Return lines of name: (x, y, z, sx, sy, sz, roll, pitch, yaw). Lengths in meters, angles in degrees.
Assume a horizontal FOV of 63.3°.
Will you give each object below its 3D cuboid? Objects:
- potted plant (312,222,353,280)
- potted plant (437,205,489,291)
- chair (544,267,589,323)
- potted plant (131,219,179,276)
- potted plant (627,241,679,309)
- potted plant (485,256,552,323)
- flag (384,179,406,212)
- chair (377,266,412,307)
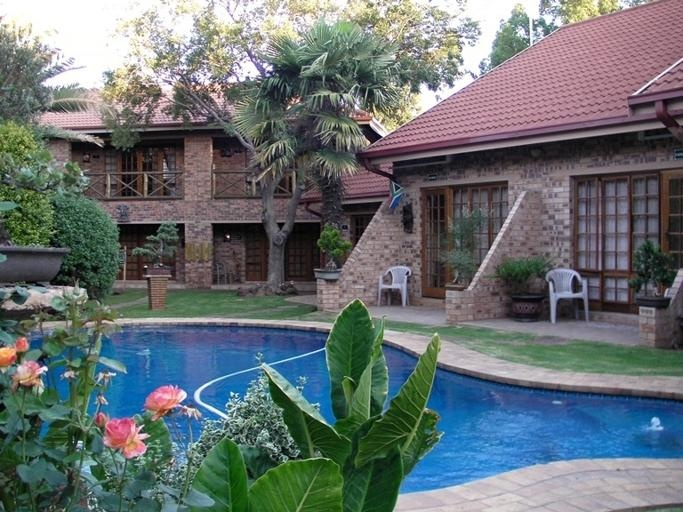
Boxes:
potted plant: (-0.341, -0.113, 15.603, 0.965, 1.277, 0.838, 3, -1, -38)
potted plant: (2.873, -0.196, 13.023, 1.046, 1.828, 1.961, 0, 4, 15)
chair: (4.632, 0.811, 11.460, 0.849, 1.078, 0.877, -2, 0, -37)
potted plant: (-5.725, -0.158, 17.365, 1.301, 1.594, 1.502, -3, -7, 43)
potted plant: (5.543, 0.293, 9.820, 0.780, 1.142, 2.712, 1, 5, 28)
potted plant: (3.891, 0.698, 11.950, 0.979, 1.347, 1.173, 3, 6, 43)
flag: (1.473, -1.617, 15.087, 0.431, 0.794, 0.300, -3, 5, -27)
chair: (1.457, 0.824, 14.580, 0.868, 1.057, 0.866, -1, 0, -21)
